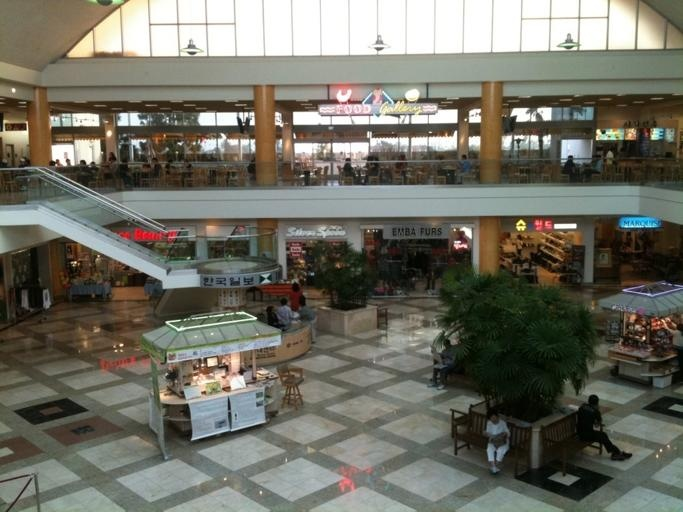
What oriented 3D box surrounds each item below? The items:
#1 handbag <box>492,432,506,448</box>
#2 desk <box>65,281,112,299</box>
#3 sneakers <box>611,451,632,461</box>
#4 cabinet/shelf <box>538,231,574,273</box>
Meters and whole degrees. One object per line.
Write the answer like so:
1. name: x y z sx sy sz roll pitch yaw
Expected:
1. handbag: 3.319 3.836 11.531 0.277 0.321 0.120 16 33 -5
2. desk: -12.160 1.689 26.644 1.212 0.375 1.089 0 8 0
3. sneakers: 6.074 4.332 11.950 0.485 0.163 0.161 -3 10 -6
4. cabinet/shelf: 11.538 -0.160 29.259 0.834 1.798 2.156 -5 12 -21
